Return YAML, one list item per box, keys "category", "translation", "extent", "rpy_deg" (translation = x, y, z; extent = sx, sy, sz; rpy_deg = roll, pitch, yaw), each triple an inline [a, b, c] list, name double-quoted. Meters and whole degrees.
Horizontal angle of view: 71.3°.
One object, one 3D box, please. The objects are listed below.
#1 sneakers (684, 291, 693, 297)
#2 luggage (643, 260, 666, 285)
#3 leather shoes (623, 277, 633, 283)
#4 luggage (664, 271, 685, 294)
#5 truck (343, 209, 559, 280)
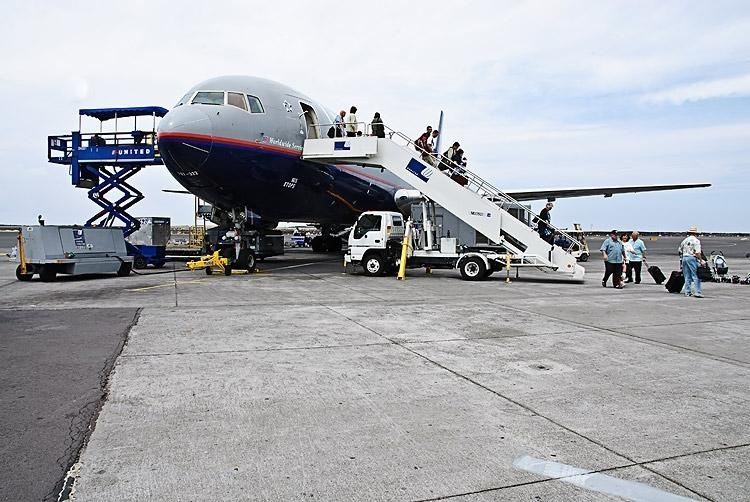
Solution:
- category: "sneakers"
  translation: [8.935, 1.273, 14.902]
  extent: [0.344, 0.131, 0.119]
  rpy_deg: [-1, 2, -3]
- category: "luggage"
  translation: [11.501, 0.925, 21.530]
  extent: [0.325, 0.871, 0.535]
  rpy_deg: [-35, 6, 31]
- category: "leather shoes"
  translation: [9.058, 1.060, 18.743]
  extent: [0.227, 0.261, 0.646]
  rpy_deg: [-3, -9, 15]
- category: "luggage"
  translation: [9.142, 1.003, 15.922]
  extent: [0.423, 0.707, 0.439]
  rpy_deg: [-1, 28, 11]
- category: "truck"
  translation: [1.957, -0.316, 19.657]
  extent: [5.821, 2.254, 2.553]
  rpy_deg: [2, -1, 17]
